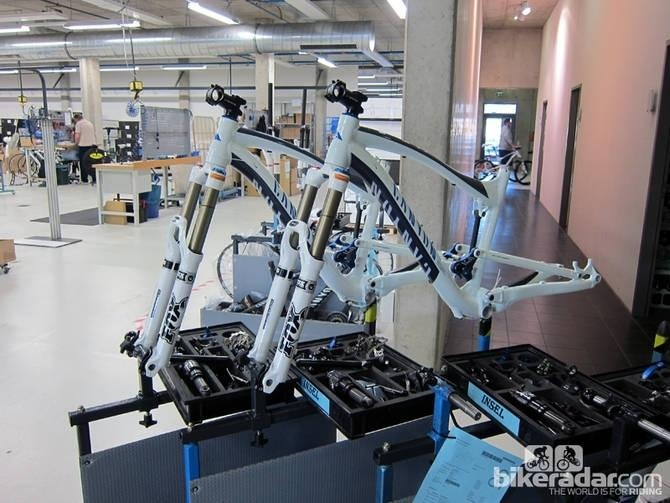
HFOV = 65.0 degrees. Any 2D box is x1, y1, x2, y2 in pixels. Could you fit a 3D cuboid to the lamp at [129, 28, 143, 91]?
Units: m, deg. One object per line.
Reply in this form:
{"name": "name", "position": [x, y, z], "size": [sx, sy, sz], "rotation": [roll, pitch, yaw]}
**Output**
{"name": "lamp", "position": [-4.126, -3.883, 10.781], "size": [0.165, 1.312, 0.212], "rotation": [-5, -3, -36]}

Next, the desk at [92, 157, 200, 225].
{"name": "desk", "position": [-3.426, -1.153, 9.628], "size": [0.698, 1.043, 2.216], "rotation": [4, 13, 8]}

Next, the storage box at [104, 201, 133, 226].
{"name": "storage box", "position": [-3.633, -0.632, 8.764], "size": [0.323, 0.349, 0.186], "rotation": [5, 16, 12]}
